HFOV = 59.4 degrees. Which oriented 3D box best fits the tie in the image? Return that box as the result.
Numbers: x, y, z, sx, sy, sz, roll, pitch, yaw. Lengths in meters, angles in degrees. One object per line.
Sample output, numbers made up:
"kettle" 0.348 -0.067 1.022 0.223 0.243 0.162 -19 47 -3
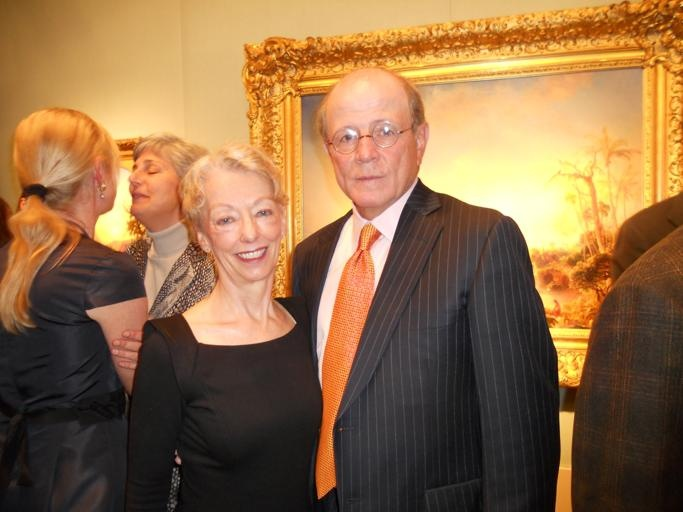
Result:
"tie" 0.033 0.337 2.278 0.144 1.180 0.118 6 -22 15
